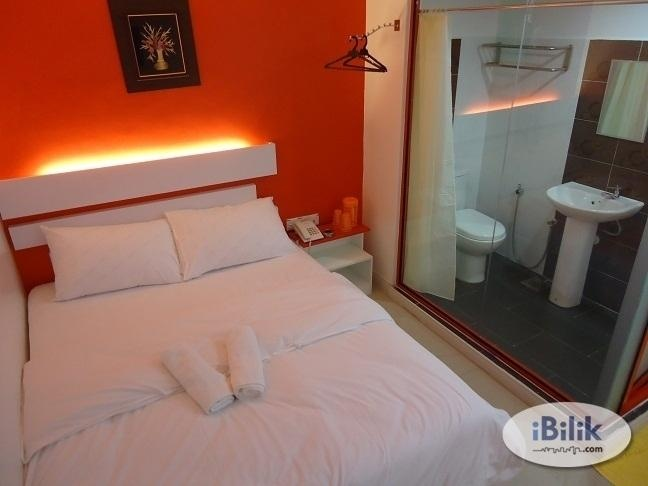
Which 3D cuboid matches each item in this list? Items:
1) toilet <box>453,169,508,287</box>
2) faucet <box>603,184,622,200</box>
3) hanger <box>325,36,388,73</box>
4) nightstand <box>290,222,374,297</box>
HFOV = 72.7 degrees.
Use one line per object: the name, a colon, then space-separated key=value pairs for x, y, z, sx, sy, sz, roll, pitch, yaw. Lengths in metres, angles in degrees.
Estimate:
toilet: x=1.151 y=-0.132 z=3.496 sx=0.327 sy=0.730 sz=0.636 roll=-23 pitch=35 yaw=-30
faucet: x=1.700 y=-0.300 z=2.602 sx=0.071 sy=0.082 sz=0.050 roll=-25 pitch=34 yaw=-16
hanger: x=0.295 y=-1.504 z=3.557 sx=0.506 sy=0.334 sz=0.804 roll=-9 pitch=27 yaw=-7
nightstand: x=0.055 y=0.083 z=4.438 sx=0.811 sy=0.661 sz=0.607 roll=-6 pitch=25 yaw=-23
